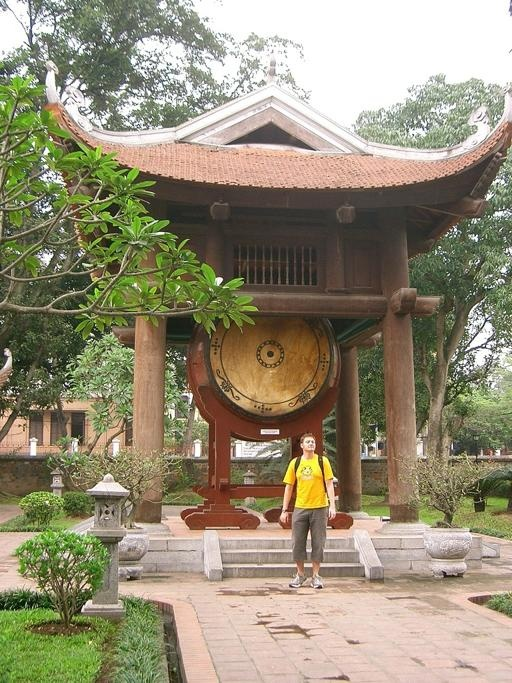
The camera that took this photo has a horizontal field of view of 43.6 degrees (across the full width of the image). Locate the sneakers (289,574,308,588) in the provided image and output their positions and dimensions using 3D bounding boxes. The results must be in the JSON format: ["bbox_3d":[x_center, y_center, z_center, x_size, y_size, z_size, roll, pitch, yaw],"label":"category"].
[{"bbox_3d":[0.420,2.399,6.388,0.082,0.096,0.222,-6,-25,20],"label":"sneakers"}]

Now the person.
[{"bbox_3d":[0.529,1.705,6.453,0.518,1.499,0.509,0,-8,2],"label":"person"}]

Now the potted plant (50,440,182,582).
[{"bbox_3d":[-1.566,1.992,7.306,1.006,0.872,0.839,-17,-23,2],"label":"potted plant"}]

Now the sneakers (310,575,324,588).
[{"bbox_3d":[0.602,2.362,6.278,0.072,0.079,0.187,0,-17,0],"label":"sneakers"}]

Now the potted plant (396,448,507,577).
[{"bbox_3d":[2.500,2.027,7.599,1.404,1.483,1.297,-5,-13,24],"label":"potted plant"}]
